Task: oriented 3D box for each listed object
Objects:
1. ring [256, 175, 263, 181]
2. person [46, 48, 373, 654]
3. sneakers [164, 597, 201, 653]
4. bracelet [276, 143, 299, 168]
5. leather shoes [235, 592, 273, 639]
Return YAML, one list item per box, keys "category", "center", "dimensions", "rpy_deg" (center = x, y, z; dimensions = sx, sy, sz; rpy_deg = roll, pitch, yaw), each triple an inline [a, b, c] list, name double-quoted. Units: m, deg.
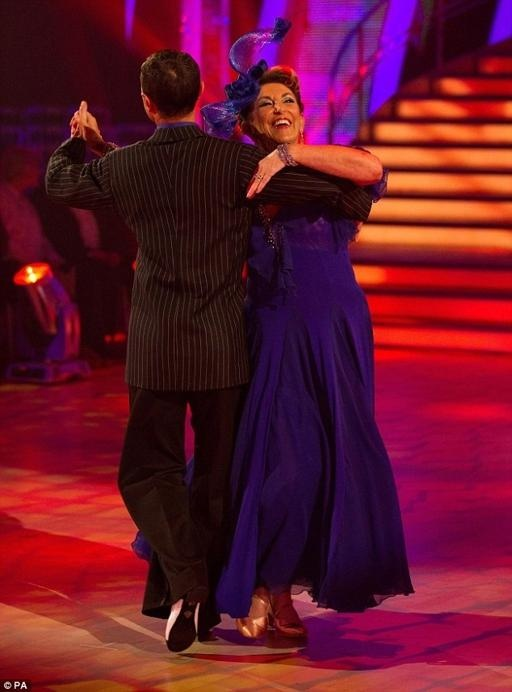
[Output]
- category: "ring"
  center: [0.009, -0.381, 1.694]
  dimensions: [0.014, 0.012, 0.003]
  rpy_deg: [5, -23, 9]
- category: "person"
  center: [-0.170, 0.039, 1.910]
  dimensions: [0.761, 1.463, 0.409]
  rpy_deg: [0, 1, 30]
- category: "sneakers"
  center: [-0.167, 0.674, 1.829]
  dimensions: [0.071, 0.063, 0.172]
  rpy_deg: [5, 23, 4]
- category: "bracelet"
  center: [0.071, -0.438, 1.724]
  dimensions: [0.022, 0.050, 0.047]
  rpy_deg: [-30, 14, -6]
- category: "leather shoes"
  center: [-0.006, 0.724, 1.998]
  dimensions: [0.075, 0.049, 0.125]
  rpy_deg: [17, 45, -3]
